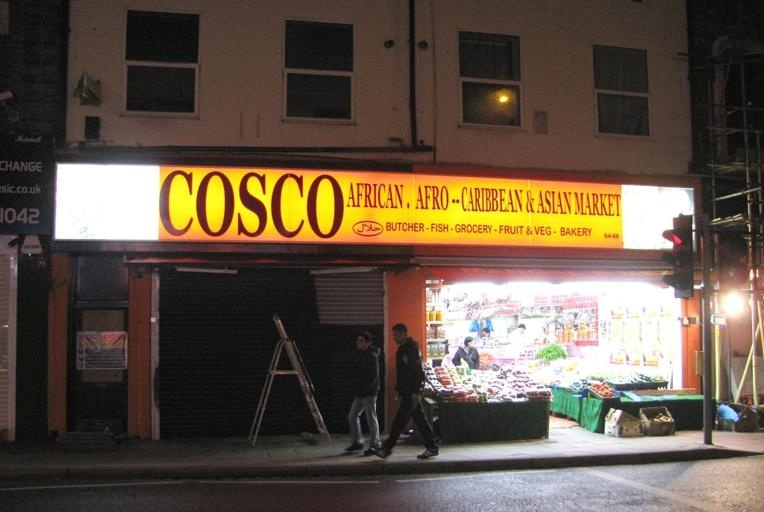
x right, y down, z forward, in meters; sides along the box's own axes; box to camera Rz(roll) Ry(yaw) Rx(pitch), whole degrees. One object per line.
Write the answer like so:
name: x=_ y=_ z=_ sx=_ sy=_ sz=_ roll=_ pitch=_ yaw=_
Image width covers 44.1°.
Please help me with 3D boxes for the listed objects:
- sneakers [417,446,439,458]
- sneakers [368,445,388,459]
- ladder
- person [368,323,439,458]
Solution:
sneakers: x=0.997 y=4.258 z=20.347 sx=0.516 sy=0.207 sz=0.172 roll=2 pitch=-8 yaw=-9
sneakers: x=-0.087 y=4.253 z=20.383 sx=0.514 sy=0.210 sz=0.190 roll=0 pitch=-7 yaw=36
ladder: x=-2.163 y=2.829 z=21.837 sx=1.891 sy=2.936 sz=1.184 roll=0 pitch=-3 yaw=-4
person: x=0.593 y=2.944 z=20.852 sx=1.279 sy=2.851 sz=1.064 roll=-1 pitch=-3 yaw=2
